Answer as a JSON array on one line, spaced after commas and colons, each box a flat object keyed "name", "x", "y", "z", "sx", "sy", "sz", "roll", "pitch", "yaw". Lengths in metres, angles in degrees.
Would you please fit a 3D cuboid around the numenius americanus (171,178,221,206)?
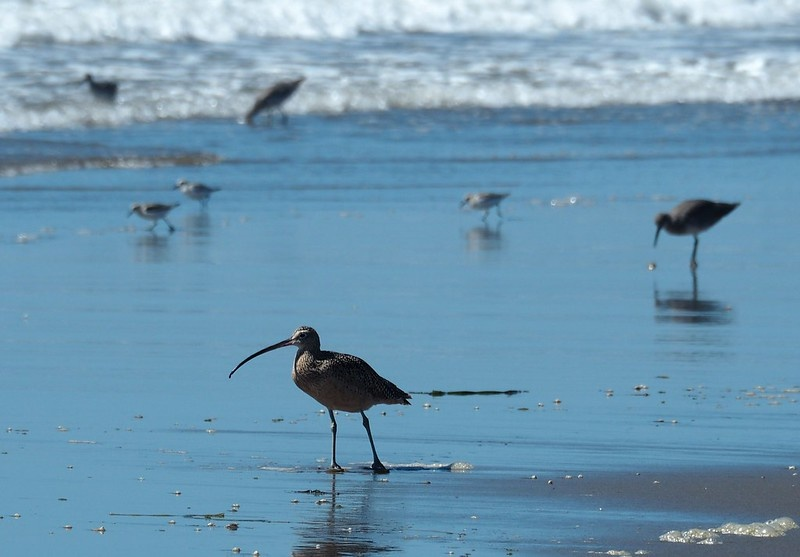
[{"name": "numenius americanus", "x": -4.180, "y": -1.779, "z": 30.874, "sx": 1.071, "sy": 0.505, "sz": 0.359, "roll": -17, "pitch": 9, "yaw": -9}]
